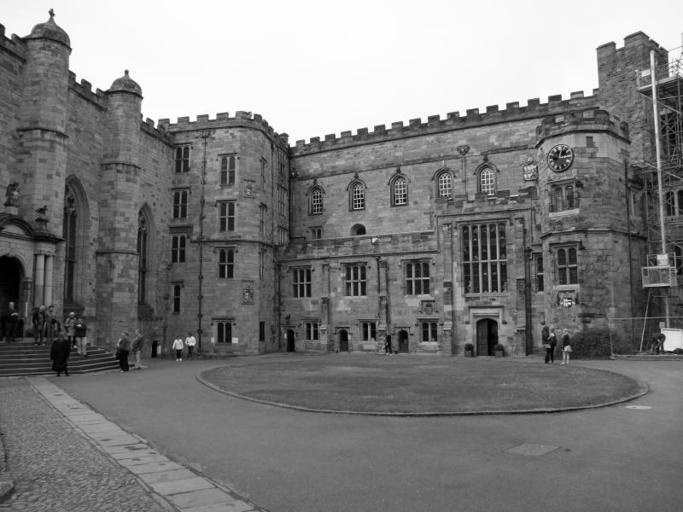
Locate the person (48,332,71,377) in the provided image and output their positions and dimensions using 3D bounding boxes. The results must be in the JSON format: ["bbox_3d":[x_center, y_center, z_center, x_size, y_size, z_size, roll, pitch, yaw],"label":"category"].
[{"bbox_3d":[-11.984,4.145,29.531,0.702,1.841,1.194,1,-9,-20],"label":"person"}]

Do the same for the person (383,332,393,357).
[{"bbox_3d":[2.968,5.440,43.554,0.559,1.399,1.693,-2,-8,3],"label":"person"}]

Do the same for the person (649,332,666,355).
[{"bbox_3d":[16.467,4.499,36.058,0.803,1.085,3.029,-5,-9,23],"label":"person"}]

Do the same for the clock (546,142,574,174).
[{"bbox_3d":[11.838,-5.246,37.297,0.276,1.893,1.767,11,-8,-37],"label":"clock"}]
